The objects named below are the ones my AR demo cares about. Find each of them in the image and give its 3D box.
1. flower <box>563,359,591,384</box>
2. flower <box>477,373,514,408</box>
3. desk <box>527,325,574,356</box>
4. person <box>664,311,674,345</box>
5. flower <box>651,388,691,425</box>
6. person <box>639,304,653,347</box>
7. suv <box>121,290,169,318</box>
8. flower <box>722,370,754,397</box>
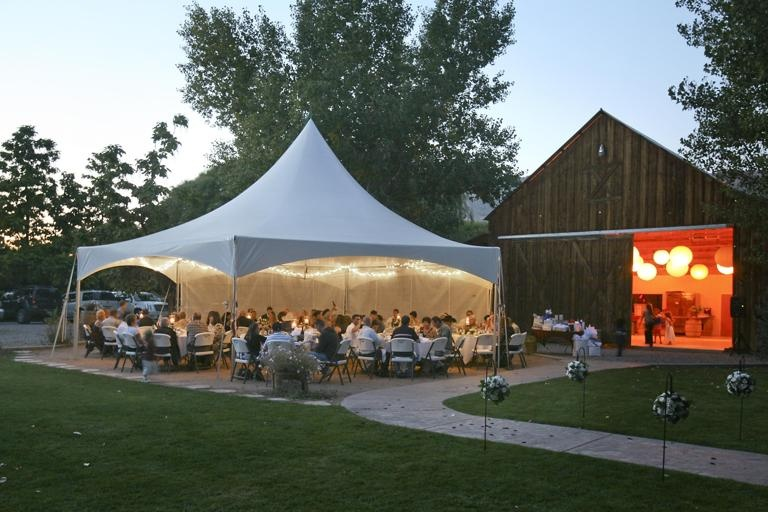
[{"bbox_3d":[3.504,2.044,12.699,0.313,0.379,0.870,0,-11,12],"label":"flower"},{"bbox_3d":[1.753,2.075,11.024,0.438,0.405,0.436,-1,-10,16],"label":"flower"},{"bbox_3d":[5.452,2.708,22.954,1.369,1.024,3.046,0,-11,12],"label":"desk"},{"bbox_3d":[10.202,2.501,24.989,0.266,1.258,1.544,-2,-11,22],"label":"person"},{"bbox_3d":[4.135,2.133,10.041,0.422,0.461,0.319,-5,-12,35],"label":"flower"},{"bbox_3d":[8.877,2.282,23.373,0.305,1.445,0.925,-2,-10,22],"label":"person"},{"bbox_3d":[-9.660,1.901,28.329,2.415,1.094,1.193,-3,-3,38],"label":"suv"},{"bbox_3d":[6.004,2.094,11.775,0.380,0.423,0.349,-4,-12,33],"label":"flower"}]
